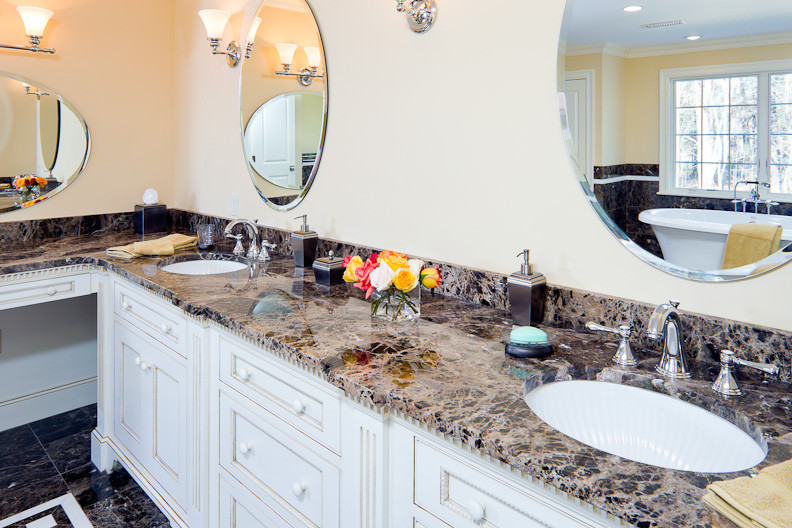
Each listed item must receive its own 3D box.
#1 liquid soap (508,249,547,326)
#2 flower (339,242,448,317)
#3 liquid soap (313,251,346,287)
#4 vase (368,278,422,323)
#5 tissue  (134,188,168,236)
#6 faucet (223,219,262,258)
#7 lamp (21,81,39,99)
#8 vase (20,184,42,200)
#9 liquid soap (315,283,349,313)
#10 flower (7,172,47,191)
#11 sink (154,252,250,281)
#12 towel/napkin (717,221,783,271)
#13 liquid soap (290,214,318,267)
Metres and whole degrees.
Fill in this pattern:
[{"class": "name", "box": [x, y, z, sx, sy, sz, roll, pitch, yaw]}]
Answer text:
[{"class": "liquid soap", "box": [0.500, 0.090, 2.087, 0.157, 0.286, 0.101, 1, 9, 0]}, {"class": "flower", "box": [-0.024, 0.085, 2.157, 0.392, 0.266, 0.167, 2, 9, 7]}, {"class": "liquid soap", "box": [-0.315, 0.032, 2.563, 0.141, 0.177, 0.153, 3, 3, 44]}, {"class": "vase", "box": [0.001, 0.148, 2.212, 0.165, 0.134, 0.164, -1, 1, -21]}, {"class": "tissue ", "box": [-1.631, -0.345, 3.660, 0.201, 0.293, 0.326, -3, 9, -29]}, {"class": "faucet", "box": [-0.864, -0.155, 3.124, 0.178, 0.222, 0.661, -1, 8, -16]}, {"class": "lamp", "box": [-2.156, -1.025, 3.261, 0.043, 0.125, 0.091, 0, -3, 42]}, {"class": "vase", "box": [-2.201, -0.432, 3.330, 0.088, 0.085, 0.080, 9, 3, 20]}, {"class": "liquid soap", "box": [-0.284, 0.148, 2.435, 0.125, 0.053, 0.125, -5, 10, -44]}, {"class": "flower", "box": [-2.200, -0.489, 3.304, 0.109, 0.064, 0.109, 2, 1, 40]}, {"class": "sink", "box": [-0.999, 0.022, 2.899, 0.442, 0.109, 0.440, -2, 9, -22]}, {"class": "towel/napkin", "box": [1.146, -0.049, 1.782, 0.102, 0.166, 0.149, -15, 23, -27]}, {"class": "liquid soap", "box": [-0.476, -0.121, 2.847, 0.165, 0.251, 0.164, 3, 12, 3]}]
